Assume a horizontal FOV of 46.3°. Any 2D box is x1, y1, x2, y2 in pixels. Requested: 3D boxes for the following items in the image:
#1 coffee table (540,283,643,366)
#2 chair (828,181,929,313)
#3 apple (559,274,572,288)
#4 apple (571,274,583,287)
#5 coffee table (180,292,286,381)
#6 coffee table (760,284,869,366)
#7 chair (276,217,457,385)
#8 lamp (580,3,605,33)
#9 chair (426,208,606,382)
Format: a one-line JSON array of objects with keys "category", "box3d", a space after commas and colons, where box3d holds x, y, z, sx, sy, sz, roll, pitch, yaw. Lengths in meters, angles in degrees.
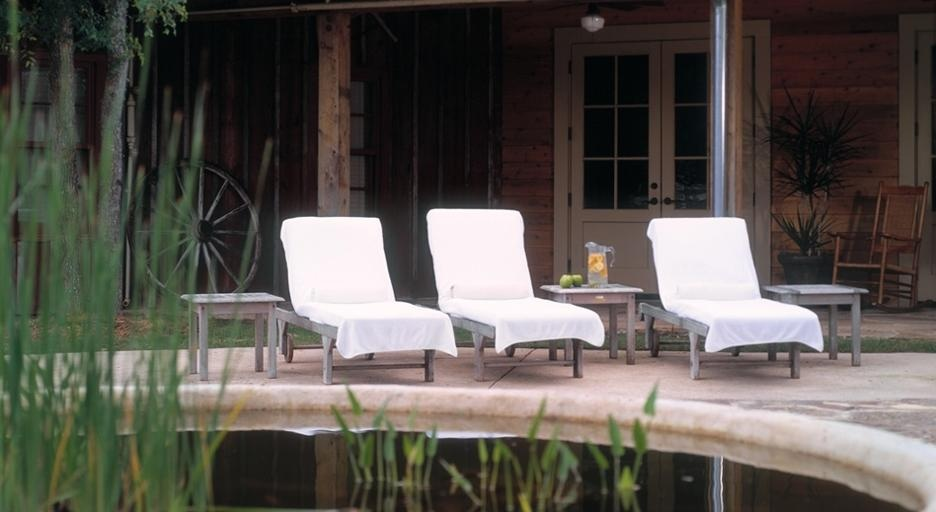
[{"category": "coffee table", "box3d": [1.228, 0.658, 10.608, 0.962, 0.777, 0.942, -2, 0, 26]}, {"category": "chair", "box3d": [4.962, -0.126, 13.148, 1.117, 1.454, 0.864, 0, -1, 16]}, {"category": "apple", "box3d": [0.933, 0.240, 10.603, 0.109, 0.132, 0.103, -3, -12, 25]}, {"category": "apple", "box3d": [1.033, 0.233, 10.648, 0.108, 0.123, 0.116, -4, 3, 29]}, {"category": "coffee table", "box3d": [-2.063, 0.584, 9.770, 0.867, 0.885, 0.902, 0, -3, -15]}, {"category": "coffee table", "box3d": [3.249, 0.625, 10.331, 0.940, 0.765, 0.993, 6, -8, -3]}, {"category": "chair", "box3d": [-1.011, 0.360, 9.885, 1.134, 1.466, 1.348, 1, -1, -33]}, {"category": "lamp", "box3d": [1.506, -2.831, 13.191, 0.259, 0.418, 0.766, 0, -1, 8]}, {"category": "chair", "box3d": [0.320, 0.327, 9.987, 1.066, 1.471, 1.930, -1, 5, -23]}]
